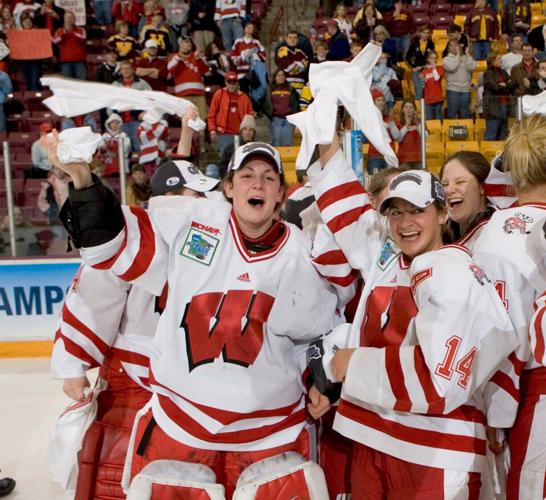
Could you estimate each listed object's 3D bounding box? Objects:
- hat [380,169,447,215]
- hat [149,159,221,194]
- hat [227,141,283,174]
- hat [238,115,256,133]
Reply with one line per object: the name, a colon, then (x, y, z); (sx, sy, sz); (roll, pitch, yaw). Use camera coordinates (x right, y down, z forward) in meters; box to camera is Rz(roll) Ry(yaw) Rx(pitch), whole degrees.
hat: (0.638, -0.265, 3.841); (0.182, 0.132, 0.254); (-8, -9, 34)
hat: (-0.526, -0.427, 4.972); (0.339, 0.166, 0.215); (-1, 15, 5)
hat: (-0.099, -0.461, 4.084); (0.214, 0.157, 0.349); (11, -4, -9)
hat: (-0.279, -1.420, 9.413); (0.158, 0.176, 0.214); (11, -15, -3)
